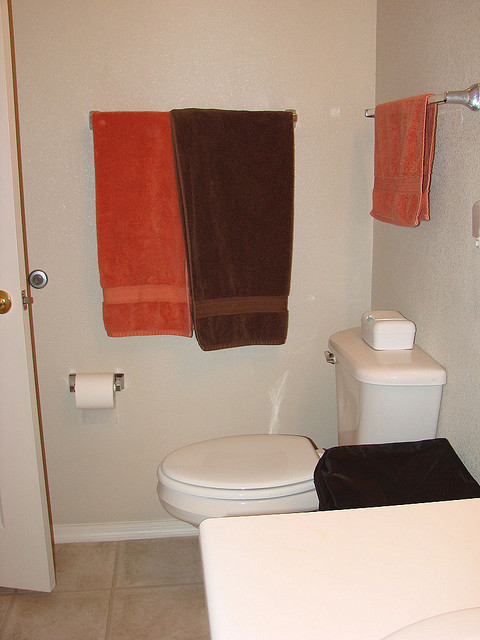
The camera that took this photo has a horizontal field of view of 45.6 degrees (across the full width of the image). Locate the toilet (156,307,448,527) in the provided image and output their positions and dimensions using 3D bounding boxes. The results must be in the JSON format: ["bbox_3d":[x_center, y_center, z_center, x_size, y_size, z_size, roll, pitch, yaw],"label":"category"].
[{"bbox_3d":[0.121,0.324,1.522,0.701,0.723,0.382,-1,12,-11],"label":"toilet"}]
